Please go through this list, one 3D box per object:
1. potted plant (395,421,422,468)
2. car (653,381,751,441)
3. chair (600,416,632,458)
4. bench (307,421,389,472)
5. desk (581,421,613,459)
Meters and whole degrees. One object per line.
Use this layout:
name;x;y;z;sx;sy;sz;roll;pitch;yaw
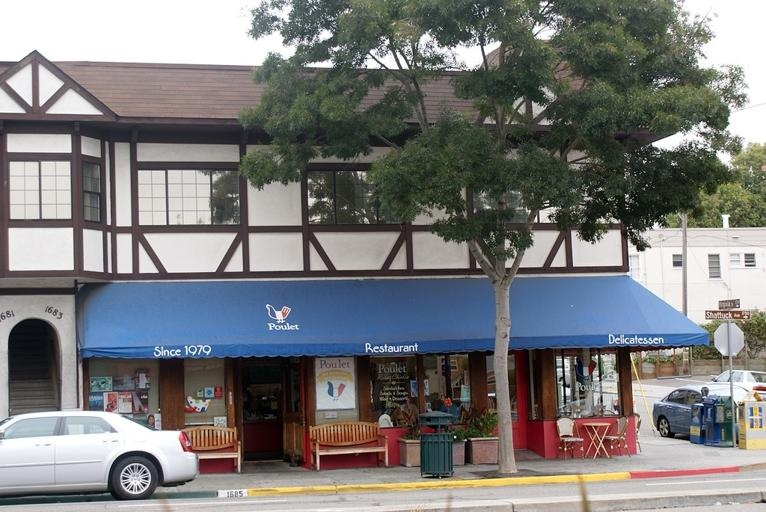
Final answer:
potted plant;0.567;5.513;35.624;0.993;1.509;1.083;-2;-4;20
car;10.452;5.252;41.321;2.829;1.871;4.286;-1;-1;12
chair;6.900;5.435;36.770;0.850;1.143;0.717;-2;-6;-19
bench;-0.994;5.462;35.411;2.196;1.346;0.494;-1;0;-12
desk;6.307;5.530;36.757;1.077;0.915;1.097;-1;-4;26
